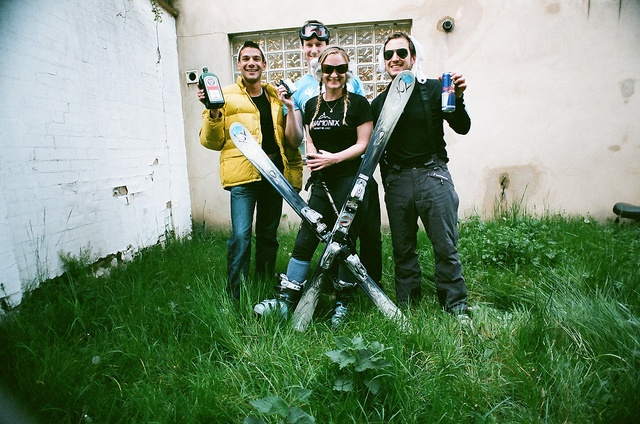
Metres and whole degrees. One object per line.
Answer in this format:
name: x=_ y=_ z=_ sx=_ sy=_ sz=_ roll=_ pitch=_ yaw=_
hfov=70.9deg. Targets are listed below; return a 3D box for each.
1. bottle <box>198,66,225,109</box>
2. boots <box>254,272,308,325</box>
bottle: x=-0.961 y=-1.097 z=4.015 sx=0.219 sy=0.349 sz=0.149 roll=-2 pitch=12 yaw=-13
boots: x=-0.348 y=0.751 z=4.002 sx=0.498 sy=0.350 sz=0.166 roll=5 pitch=9 yaw=-39
